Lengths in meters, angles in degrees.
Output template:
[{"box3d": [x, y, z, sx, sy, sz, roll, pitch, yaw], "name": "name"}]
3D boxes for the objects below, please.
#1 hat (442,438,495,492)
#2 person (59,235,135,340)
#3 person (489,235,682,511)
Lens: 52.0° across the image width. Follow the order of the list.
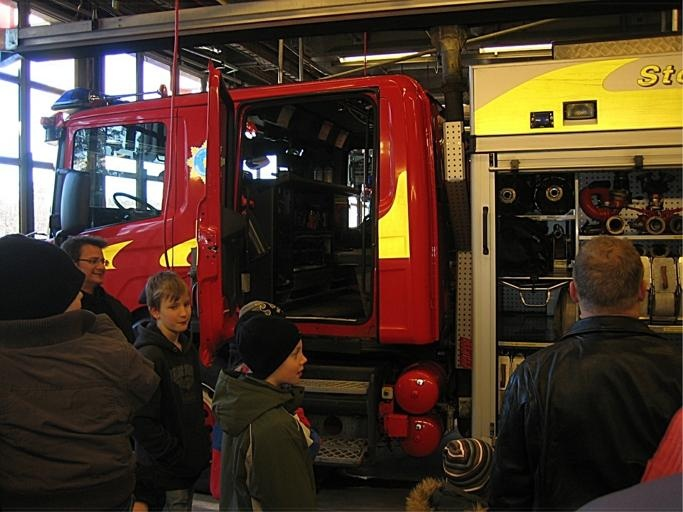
[{"box3d": [0.769, 1.273, 4.283, 0.298, 0.312, 0.194, 1, 2, 14], "name": "hat"}, {"box3d": [-1.285, 0.159, 3.733, 0.261, 0.715, 0.526, -18, 10, -14], "name": "person"}, {"box3d": [0.963, 0.473, 2.790, 0.709, 1.090, 0.264, 1, 2, 12], "name": "person"}]
